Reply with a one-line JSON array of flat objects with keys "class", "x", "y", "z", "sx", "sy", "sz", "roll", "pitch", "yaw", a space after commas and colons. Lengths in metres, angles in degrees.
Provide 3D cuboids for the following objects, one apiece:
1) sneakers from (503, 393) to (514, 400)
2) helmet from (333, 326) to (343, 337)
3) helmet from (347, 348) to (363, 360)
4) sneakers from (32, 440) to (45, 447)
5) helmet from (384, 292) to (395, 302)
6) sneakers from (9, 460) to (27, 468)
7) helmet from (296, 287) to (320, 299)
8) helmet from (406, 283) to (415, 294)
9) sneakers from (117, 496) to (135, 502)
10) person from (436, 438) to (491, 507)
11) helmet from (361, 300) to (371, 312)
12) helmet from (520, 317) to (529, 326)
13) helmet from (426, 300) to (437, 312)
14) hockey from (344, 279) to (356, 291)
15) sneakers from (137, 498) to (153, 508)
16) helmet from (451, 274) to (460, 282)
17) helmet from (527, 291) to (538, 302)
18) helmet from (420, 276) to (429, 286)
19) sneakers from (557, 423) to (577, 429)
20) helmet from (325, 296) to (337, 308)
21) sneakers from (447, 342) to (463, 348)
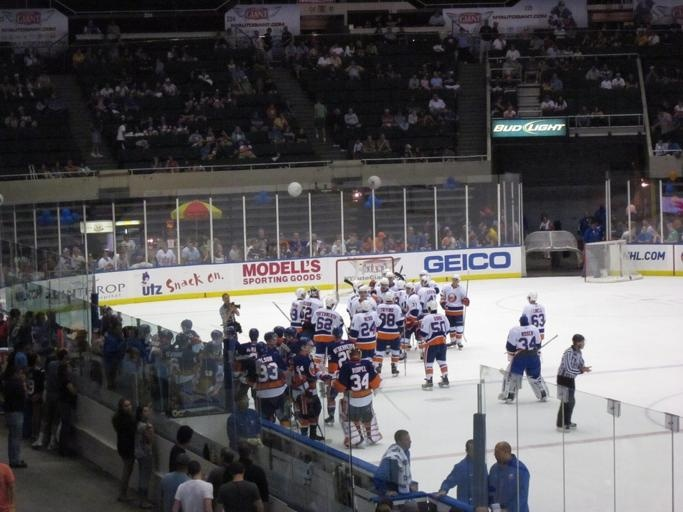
[{"class": "sneakers", "x": 2.868, "y": 2.396, "z": 19.261, "sx": 0.194, "sy": 0.126, "sz": 0.125, "roll": -2, "pitch": -1, "yaw": 11}, {"class": "helmet", "x": -0.056, "y": 1.612, "z": 23.885, "sx": 0.185, "sy": 0.181, "sz": 0.284, "roll": 7, "pitch": -10, "yaw": 3}, {"class": "helmet", "x": 0.268, "y": 1.868, "z": 21.505, "sx": 0.221, "sy": 0.219, "sz": 0.332, "roll": -2, "pitch": -1, "yaw": 5}, {"class": "sneakers", "x": -6.322, "y": 3.912, "z": 23.551, "sx": 0.188, "sy": 0.206, "sz": 0.101, "roll": 6, "pitch": -7, "yaw": -10}, {"class": "helmet", "x": 1.083, "y": 0.920, "z": 25.441, "sx": 0.214, "sy": 0.214, "sz": 0.376, "roll": -2, "pitch": -1, "yaw": 1}, {"class": "sneakers", "x": -6.392, "y": 4.133, "z": 22.481, "sx": 0.352, "sy": 0.173, "sz": 0.127, "roll": -1, "pitch": 3, "yaw": -7}, {"class": "helmet", "x": -0.750, "y": 0.857, "z": 25.812, "sx": 0.385, "sy": 0.218, "sz": 0.307, "roll": -1, "pitch": 5, "yaw": -2}, {"class": "helmet", "x": 1.683, "y": 0.770, "z": 26.860, "sx": 0.174, "sy": 0.270, "sz": 0.400, "roll": -2, "pitch": -2, "yaw": 34}, {"class": "sneakers", "x": -4.155, "y": 4.702, "z": 21.816, "sx": 0.279, "sy": 0.104, "sz": 0.115, "roll": -1, "pitch": -1, "yaw": -12}, {"class": "person", "x": 2.115, "y": 3.719, "z": 19.225, "sx": 0.252, "sy": 0.987, "sz": 1.012, "roll": 2, "pitch": 10, "yaw": 35}, {"class": "helmet", "x": 0.535, "y": 1.070, "z": 24.279, "sx": 0.167, "sy": 0.226, "sz": 0.225, "roll": -1, "pitch": -4, "yaw": -3}, {"class": "helmet", "x": 3.800, "y": 1.359, "z": 23.447, "sx": 0.143, "sy": 0.195, "sz": 0.188, "roll": 3, "pitch": 28, "yaw": 10}, {"class": "helmet", "x": 1.996, "y": 1.101, "z": 24.848, "sx": 0.216, "sy": 0.248, "sz": 0.178, "roll": -5, "pitch": 6, "yaw": 14}, {"class": "hockey", "x": 0.255, "y": 0.831, "z": 32.649, "sx": 0.145, "sy": 0.223, "sz": 0.679, "roll": 15, "pitch": -9, "yaw": 27}, {"class": "sneakers", "x": -3.749, "y": 4.761, "z": 21.751, "sx": 0.315, "sy": 0.255, "sz": 0.112, "roll": -1, "pitch": 3, "yaw": 1}, {"class": "helmet", "x": 2.751, "y": 0.527, "z": 27.170, "sx": 0.168, "sy": 0.219, "sz": 0.242, "roll": 5, "pitch": -42, "yaw": 15}, {"class": "helmet", "x": 4.179, "y": 0.891, "z": 24.690, "sx": 0.147, "sy": 0.213, "sz": 0.209, "roll": 2, "pitch": 23, "yaw": 5}, {"class": "helmet", "x": 2.028, "y": 0.601, "z": 27.360, "sx": 0.147, "sy": 0.228, "sz": 0.182, "roll": -1, "pitch": -1, "yaw": 0}, {"class": "sneakers", "x": 3.794, "y": 2.858, "z": 18.945, "sx": 0.303, "sy": 0.112, "sz": 0.045, "roll": -2, "pitch": -1, "yaw": -1}, {"class": "helmet", "x": -0.243, "y": 1.000, "z": 24.544, "sx": 0.159, "sy": 0.218, "sz": 0.215, "roll": 11, "pitch": 17, "yaw": 35}, {"class": "sneakers", "x": 2.782, "y": 2.178, "z": 27.514, "sx": 0.353, "sy": 0.172, "sz": 0.136, "roll": 5, "pitch": 2, "yaw": 21}]
